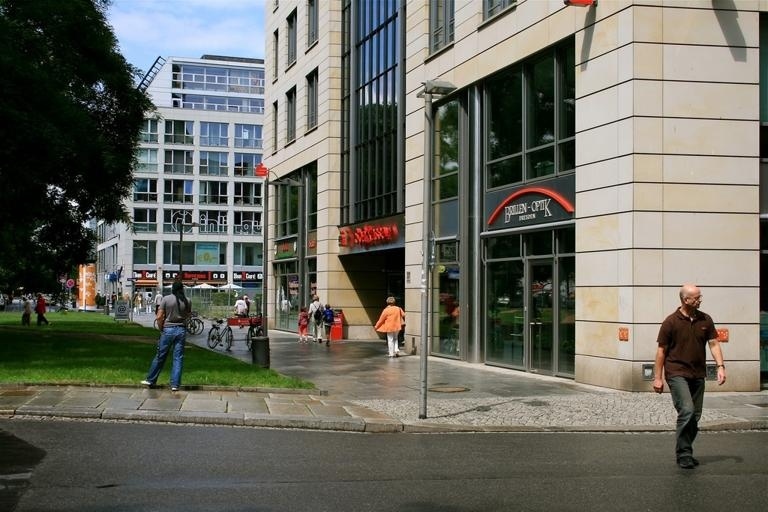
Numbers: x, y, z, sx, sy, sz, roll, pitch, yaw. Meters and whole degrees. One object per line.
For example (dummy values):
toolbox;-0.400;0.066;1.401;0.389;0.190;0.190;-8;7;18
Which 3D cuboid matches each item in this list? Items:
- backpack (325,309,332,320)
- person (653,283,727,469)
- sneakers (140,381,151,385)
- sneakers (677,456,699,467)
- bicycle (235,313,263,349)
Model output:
backpack;-2.301;2.353;37.375;0.369;0.490;0.288;1;-7;-15
person;5.132;1.997;15.459;1.097;3.049;0.873;0;-8;16
sneakers;-5.390;2.832;20.617;0.247;0.105;0.082;9;-2;7
sneakers;5.018;3.412;15.232;0.142;0.170;0.397;1;-12;-6
bicycle;-4.807;2.680;33.286;0.932;1.189;2.033;1;-4;-8
